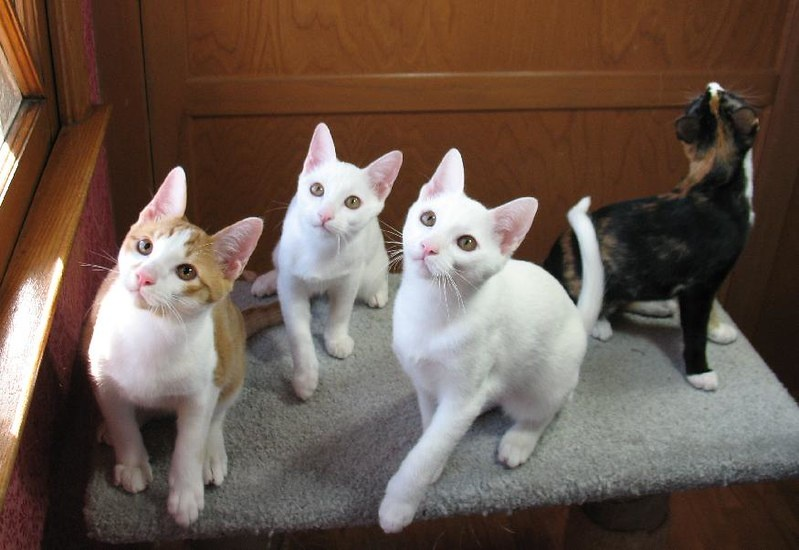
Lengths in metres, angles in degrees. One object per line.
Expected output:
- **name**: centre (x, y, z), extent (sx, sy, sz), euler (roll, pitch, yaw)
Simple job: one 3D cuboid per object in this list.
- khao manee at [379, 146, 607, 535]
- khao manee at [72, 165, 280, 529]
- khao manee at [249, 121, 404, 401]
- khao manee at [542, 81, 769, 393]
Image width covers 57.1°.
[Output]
- **khao manee**: centre (0.155, 0.128, 1.706), extent (0.624, 0.715, 0.352), euler (-23, 41, -30)
- **khao manee**: centre (-0.516, 0.146, 1.655), extent (0.412, 0.696, 0.381), euler (-29, 44, -36)
- **khao manee**: centre (-0.200, -0.130, 2.111), extent (0.345, 0.679, 0.753), euler (5, 28, -9)
- **khao manee**: centre (0.707, -0.175, 2.064), extent (0.497, 0.826, 0.290), euler (19, 38, 31)
